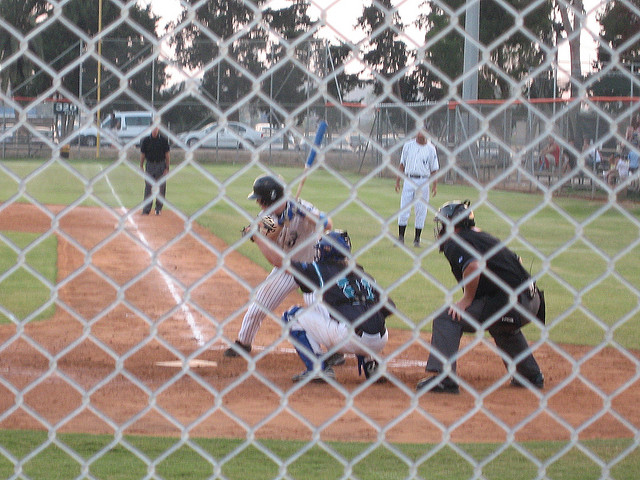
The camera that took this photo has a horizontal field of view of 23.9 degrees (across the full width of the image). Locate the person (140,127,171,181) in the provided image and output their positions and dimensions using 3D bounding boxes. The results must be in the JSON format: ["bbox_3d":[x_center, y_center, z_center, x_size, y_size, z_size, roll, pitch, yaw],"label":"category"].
[{"bbox_3d":[-3.722,-1.780,34.188,0.659,2.025,0.398,0,22,-3],"label":"person"}]

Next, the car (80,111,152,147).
[{"bbox_3d":[-6.521,-3.813,48.980,2.365,1.341,1.449,-1,27,-24],"label":"car"}]
